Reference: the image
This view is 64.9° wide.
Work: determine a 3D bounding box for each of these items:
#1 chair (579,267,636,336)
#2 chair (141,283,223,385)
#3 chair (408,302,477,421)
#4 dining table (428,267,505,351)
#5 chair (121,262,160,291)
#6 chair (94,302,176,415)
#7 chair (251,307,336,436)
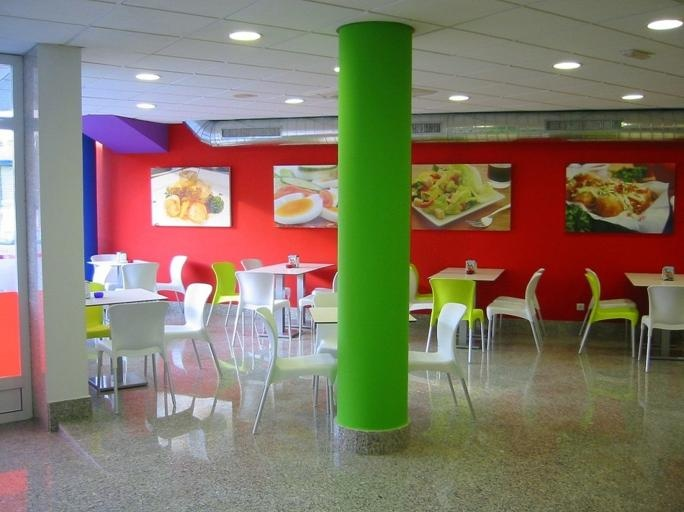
[{"bbox_3d":[4.104,0.796,8.266,0.691,1.144,1.865,3,6,24],"label":"chair"},{"bbox_3d":[-1.956,0.889,6.519,0.942,1.027,0.833,-1,5,-17],"label":"chair"},{"bbox_3d":[1.043,1.010,5.560,0.676,1.148,1.384,1,6,8],"label":"chair"},{"bbox_3d":[1.881,0.823,8.800,1.413,1.314,1.251,0,7,7],"label":"dining table"},{"bbox_3d":[-3.507,0.310,9.455,0.505,0.777,0.565,-4,11,-35],"label":"chair"},{"bbox_3d":[-2.214,1.015,5.813,0.872,1.075,0.825,7,10,36],"label":"chair"},{"bbox_3d":[-0.508,1.030,5.215,0.848,0.982,0.638,-2,6,-18],"label":"chair"}]
